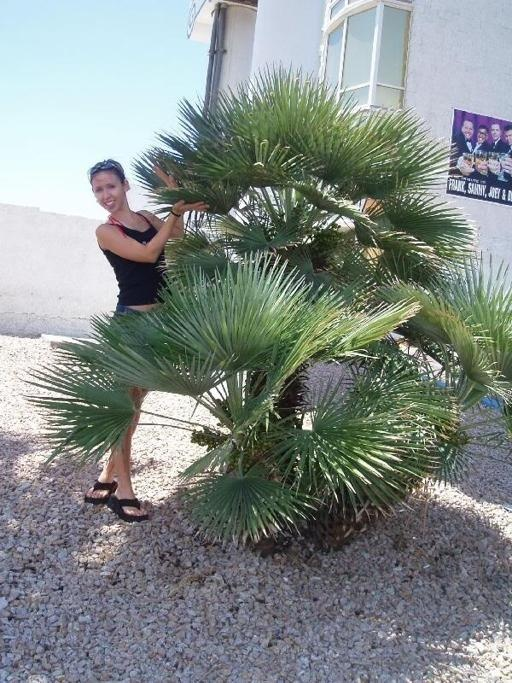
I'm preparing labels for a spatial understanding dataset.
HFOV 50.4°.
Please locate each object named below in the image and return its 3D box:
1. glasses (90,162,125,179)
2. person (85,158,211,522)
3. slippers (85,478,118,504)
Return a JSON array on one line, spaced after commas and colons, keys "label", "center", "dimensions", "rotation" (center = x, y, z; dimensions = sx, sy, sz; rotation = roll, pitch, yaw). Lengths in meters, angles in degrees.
[{"label": "glasses", "center": [-0.742, -0.853, 2.709], "dimensions": [0.167, 0.115, 0.099], "rotation": [2, 12, -16]}, {"label": "person", "center": [-0.610, 0.011, 2.822], "dimensions": [0.537, 1.826, 0.703], "rotation": [2, 12, -17]}, {"label": "slippers", "center": [-0.859, 0.829, 2.994], "dimensions": [0.092, 0.076, 0.220], "rotation": [1, -9, 3]}]
